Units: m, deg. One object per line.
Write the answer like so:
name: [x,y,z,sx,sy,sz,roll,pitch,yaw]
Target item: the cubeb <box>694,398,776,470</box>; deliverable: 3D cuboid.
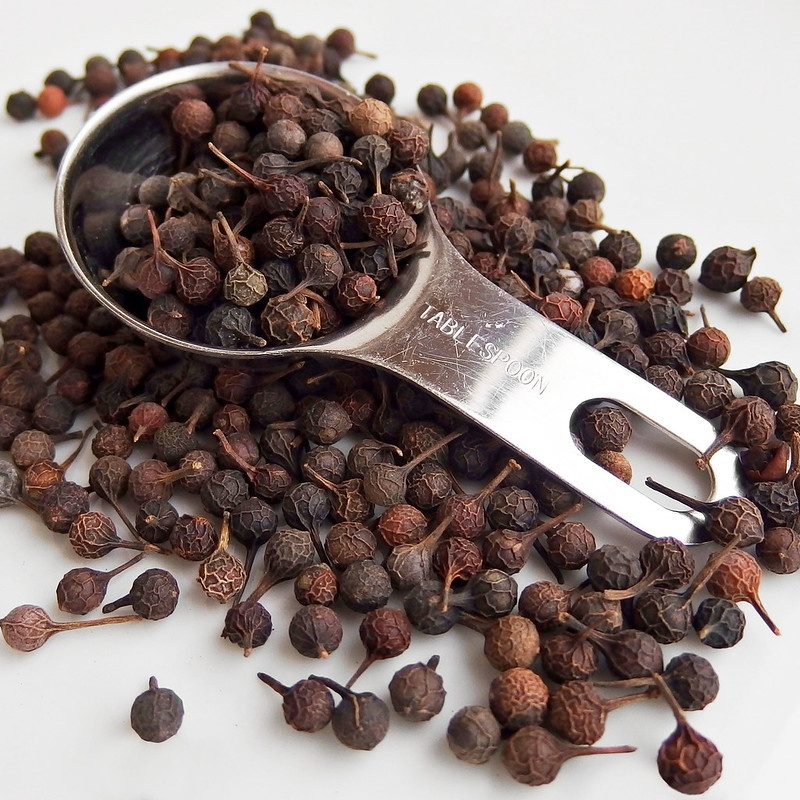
cubeb: [1.080,0.094,3.009,0.337,0.145,0.176,-25,43,-26]
